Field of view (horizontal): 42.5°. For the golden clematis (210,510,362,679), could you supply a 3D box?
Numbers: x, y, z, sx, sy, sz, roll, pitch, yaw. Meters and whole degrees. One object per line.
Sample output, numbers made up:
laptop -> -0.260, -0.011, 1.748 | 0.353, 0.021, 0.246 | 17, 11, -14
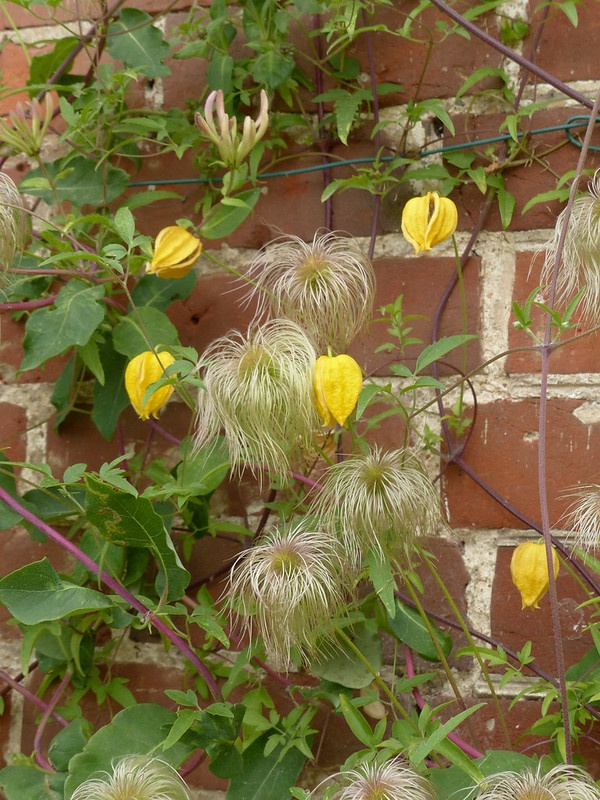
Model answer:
golden clematis -> -0.003, 0.226, 1.012 | 0.223, 0.190, 0.196 | -9, 37, -1

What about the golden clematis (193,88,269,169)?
golden clematis -> -0.081, -0.332, 0.948 | 0.077, 0.093, 0.091 | 7, 25, 2

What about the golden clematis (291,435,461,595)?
golden clematis -> 0.090, 0.130, 0.900 | 0.189, 0.142, 0.165 | -2, 5, 8

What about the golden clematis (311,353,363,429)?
golden clematis -> 0.039, -0.010, 0.885 | 0.035, 0.091, 0.072 | -11, 30, -31
